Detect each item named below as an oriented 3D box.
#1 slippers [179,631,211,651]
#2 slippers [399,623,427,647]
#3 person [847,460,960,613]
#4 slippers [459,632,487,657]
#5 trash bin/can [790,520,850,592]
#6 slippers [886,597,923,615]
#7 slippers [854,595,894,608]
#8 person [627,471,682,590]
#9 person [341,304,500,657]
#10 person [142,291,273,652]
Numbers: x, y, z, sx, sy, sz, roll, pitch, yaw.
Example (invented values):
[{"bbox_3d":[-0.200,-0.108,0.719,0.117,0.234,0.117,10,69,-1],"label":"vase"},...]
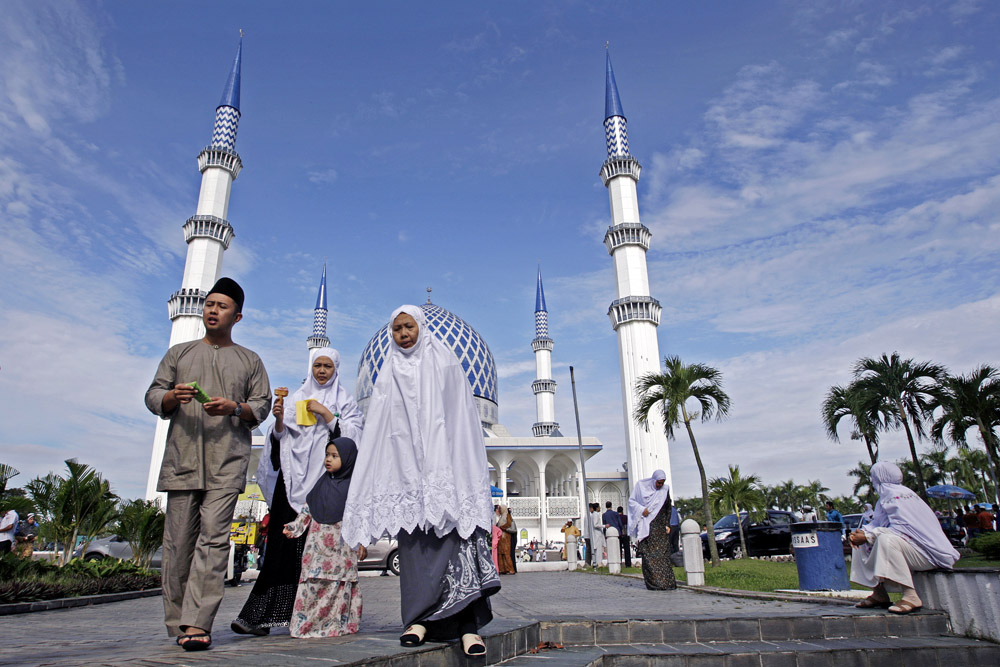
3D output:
[{"bbox_3d":[-2.356,2.360,4.945,0.265,0.117,0.168,0,-21,-4],"label":"slippers"},{"bbox_3d":[-0.644,2.310,4.940,0.218,0.145,0.224,5,-22,-18],"label":"slippers"},{"bbox_3d":[4.305,2.187,7.017,1.018,1.567,0.624,-16,-25,33],"label":"person"},{"bbox_3d":[-0.174,2.393,4.937,0.231,0.178,0.207,7,-23,-22],"label":"slippers"},{"bbox_3d":[4.565,3.385,9.750,0.974,1.022,0.963,-1,-24,5],"label":"trash bin/can"},{"bbox_3d":[4.241,2.843,6.702,0.334,0.089,0.131,14,-44,-25],"label":"slippers"},{"bbox_3d":[4.075,2.936,7.003,0.328,0.117,0.130,9,-30,-1],"label":"slippers"},{"bbox_3d":[2.523,3.221,10.692,0.728,1.918,0.750,-6,-22,12],"label":"person"},{"bbox_3d":[-0.637,1.092,5.386,1.176,2.721,0.416,2,-21,-11],"label":"person"},{"bbox_3d":[-2.498,0.989,5.403,0.868,3.016,0.719,-8,-22,17],"label":"person"}]
